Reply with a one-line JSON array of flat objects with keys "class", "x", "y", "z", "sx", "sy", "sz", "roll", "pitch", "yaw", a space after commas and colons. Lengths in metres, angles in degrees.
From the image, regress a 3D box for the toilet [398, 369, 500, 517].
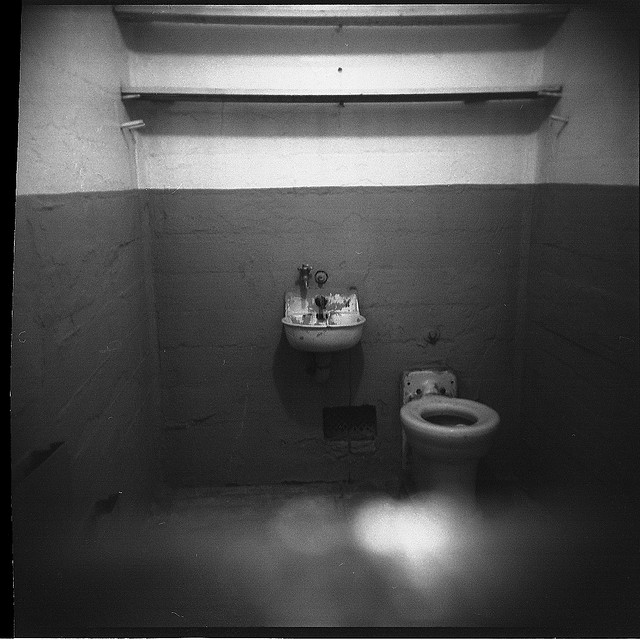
[{"class": "toilet", "x": 0.422, "y": 0.451, "z": 2.035, "sx": 0.258, "sy": 0.506, "sz": 0.366, "roll": -4, "pitch": 16, "yaw": -12}]
